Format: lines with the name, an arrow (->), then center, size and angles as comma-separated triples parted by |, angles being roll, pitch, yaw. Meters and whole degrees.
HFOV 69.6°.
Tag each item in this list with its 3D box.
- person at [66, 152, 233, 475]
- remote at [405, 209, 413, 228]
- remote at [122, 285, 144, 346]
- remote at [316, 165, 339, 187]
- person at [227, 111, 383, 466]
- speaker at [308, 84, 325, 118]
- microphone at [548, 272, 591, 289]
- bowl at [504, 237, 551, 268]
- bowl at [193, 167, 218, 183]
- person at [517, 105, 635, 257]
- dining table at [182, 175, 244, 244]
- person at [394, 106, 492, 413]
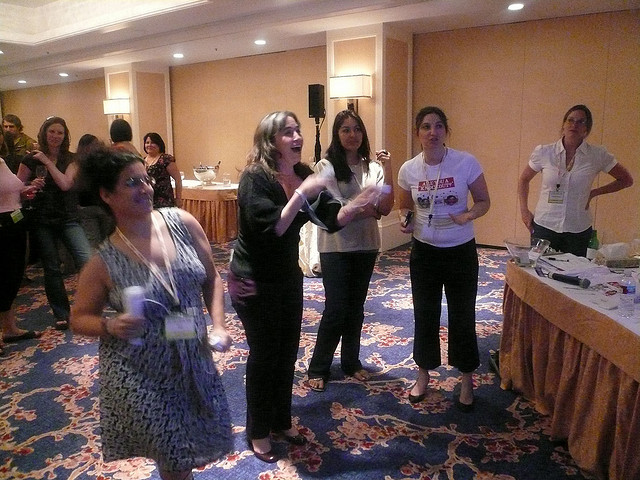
person -> -0.656, 0.303, 1.842 | 0.603, 1.279, 0.402 | -10, 16, -30
remote -> 0.561, -0.154, 2.957 | 0.016, 0.071, 0.072 | 12, 21, -14
remote -> -0.694, 0.283, 1.742 | 0.074, 0.245, 0.144 | -8, 15, -24
remote -> 0.064, -0.433, 2.968 | 0.130, 0.070, 0.179 | 4, 28, -16
person -> -0.135, 0.252, 2.576 | 0.571, 1.875, 0.680 | 6, 16, 30
speaker -> -0.055, -2.008, 6.646 | 0.210, 0.455, 0.151 | -4, 14, -11
microphone -> 1.464, 0.224, 2.723 | 0.050, 0.055, 0.250 | -23, 23, -35
bowl -> 1.396, 0.087, 3.126 | 0.339, 0.166, 0.321 | 0, 11, 0
bowl -> -1.838, -1.071, 7.541 | 0.258, 0.172, 0.263 | 0, 2, 0
person -> 1.909, -0.411, 3.562 | 0.820, 1.214, 1.636 | 8, 17, 33
dining table -> -1.507, -0.584, 7.367 | 1.471, 0.744, 0.600 | 1, 28, 34
person -> 0.765, 0.114, 3.010 | 0.583, 1.898, 0.480 | 4, 15, 23
